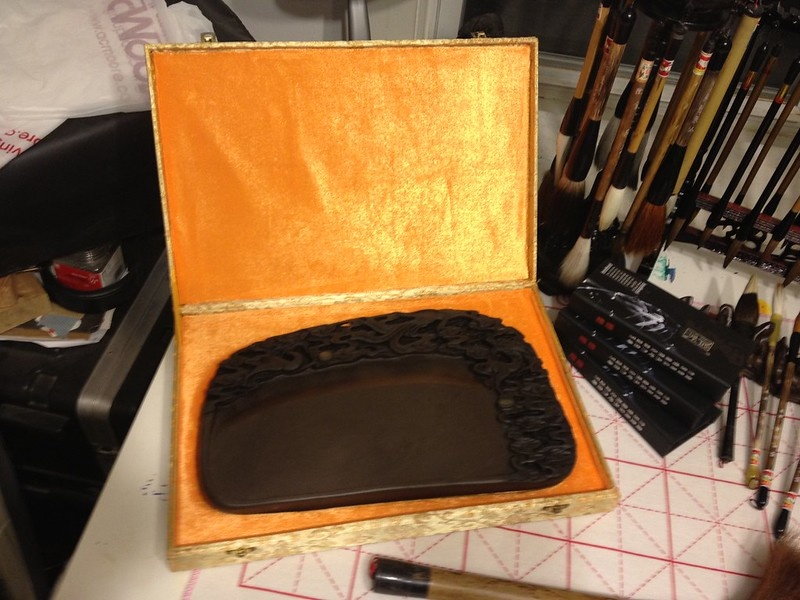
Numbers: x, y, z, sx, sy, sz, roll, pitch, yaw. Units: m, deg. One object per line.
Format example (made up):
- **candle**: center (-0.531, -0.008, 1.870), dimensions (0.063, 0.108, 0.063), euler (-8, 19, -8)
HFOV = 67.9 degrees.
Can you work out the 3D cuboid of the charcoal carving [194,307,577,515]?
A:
- **charcoal carving**: center (-0.020, 0.139, 0.777), dimensions (0.505, 0.054, 0.218), euler (1, 75, -23)
